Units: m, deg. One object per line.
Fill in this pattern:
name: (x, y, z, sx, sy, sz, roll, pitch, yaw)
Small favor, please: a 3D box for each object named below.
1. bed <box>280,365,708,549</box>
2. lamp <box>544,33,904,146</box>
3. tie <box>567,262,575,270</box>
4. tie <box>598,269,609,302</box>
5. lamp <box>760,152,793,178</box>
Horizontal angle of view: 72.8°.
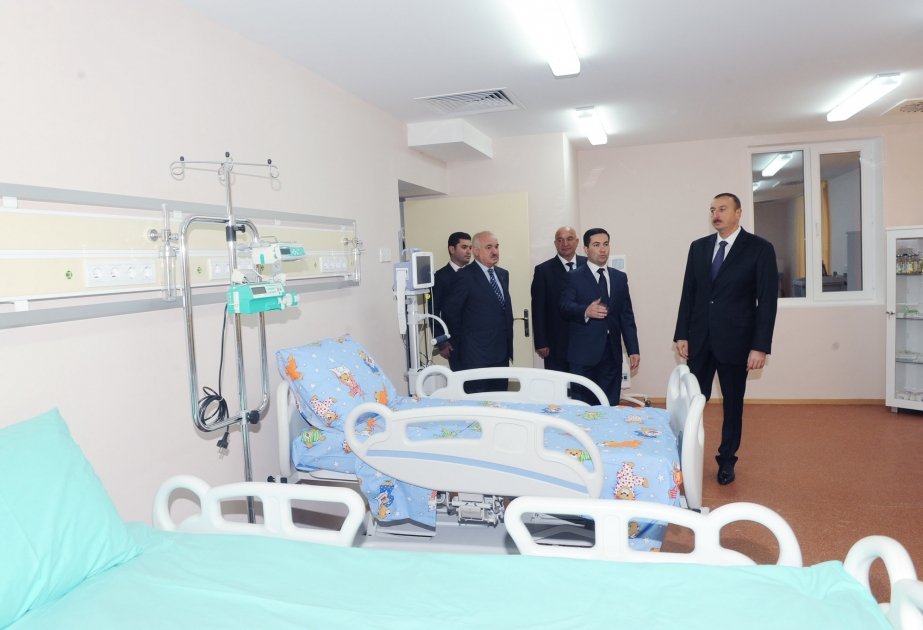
bed: (0.270, 0.636, 3.344, 1.715, 0.729, 1.138, 2, 11, 12)
lamp: (2.033, -1.758, 5.174, 3.562, 0.462, 1.843, -6, 14, -18)
tie: (0.898, -0.396, 5.138, 0.048, 0.067, 0.016, 7, 0, 4)
tie: (1.056, -0.223, 4.611, 0.074, 0.219, 0.107, 1, 13, 11)
lamp: (3.303, -1.560, 6.552, 0.283, 0.226, 0.062, -1, 13, 2)
